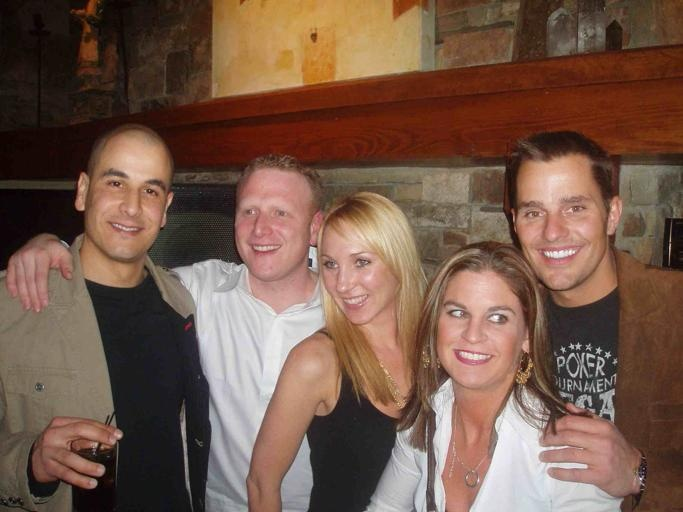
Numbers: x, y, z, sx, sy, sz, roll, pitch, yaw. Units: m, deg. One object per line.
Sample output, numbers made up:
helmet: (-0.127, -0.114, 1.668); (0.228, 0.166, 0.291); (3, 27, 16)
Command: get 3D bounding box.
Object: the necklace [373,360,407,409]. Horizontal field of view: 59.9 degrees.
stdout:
necklace: (0.255, 0.658, 2.946); (0.081, 0.297, 0.043); (-27, -10, -46)
